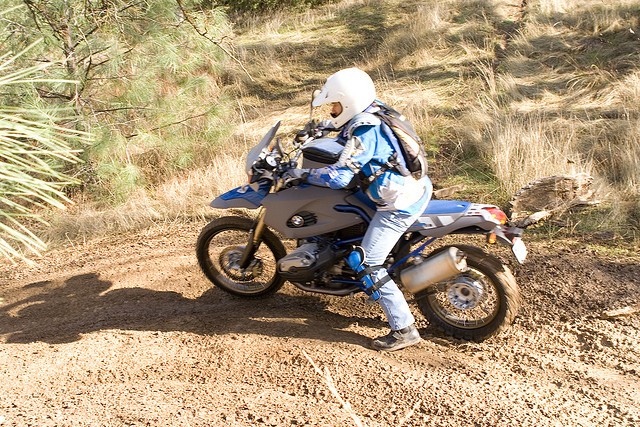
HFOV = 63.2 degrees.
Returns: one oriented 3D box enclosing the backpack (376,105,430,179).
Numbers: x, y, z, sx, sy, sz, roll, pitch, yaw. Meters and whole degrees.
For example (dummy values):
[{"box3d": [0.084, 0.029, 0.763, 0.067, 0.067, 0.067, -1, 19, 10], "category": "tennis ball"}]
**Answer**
[{"box3d": [0.893, -0.745, 5.525, 0.419, 0.770, 0.441, -2, 25, 21], "category": "backpack"}]
